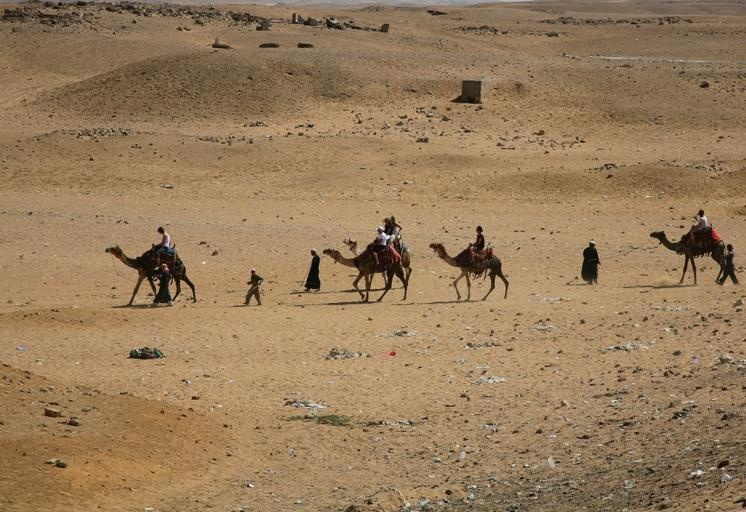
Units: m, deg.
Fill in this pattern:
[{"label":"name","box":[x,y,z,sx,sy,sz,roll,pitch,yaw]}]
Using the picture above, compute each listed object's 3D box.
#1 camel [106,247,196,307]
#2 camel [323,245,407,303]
[{"label":"camel","box":[-7.081,0.738,30.501,2.167,1.511,3.515,5,-7,-14]},{"label":"camel","box":[-1.331,0.346,30.307,4.753,1.873,1.083,1,2,1]}]
